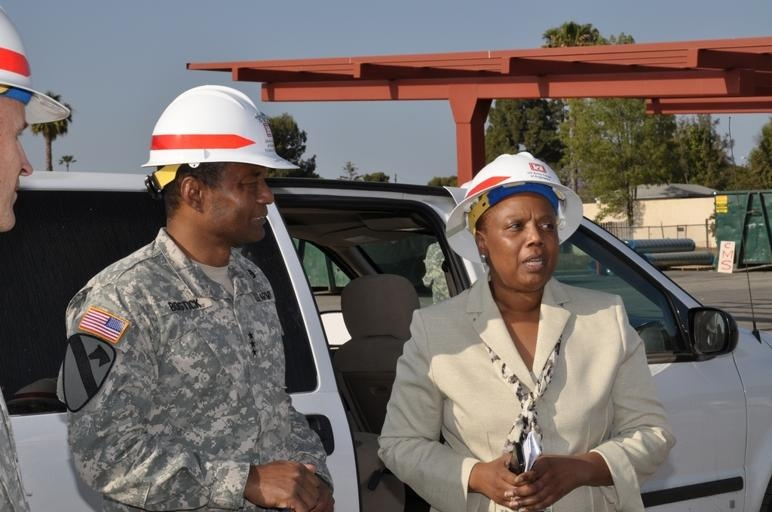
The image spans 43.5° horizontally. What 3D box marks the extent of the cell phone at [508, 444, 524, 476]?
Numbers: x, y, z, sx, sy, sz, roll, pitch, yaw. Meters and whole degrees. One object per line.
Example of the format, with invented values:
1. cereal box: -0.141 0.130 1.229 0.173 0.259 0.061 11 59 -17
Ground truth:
1. cell phone: 0.466 0.735 3.465 0.033 0.092 0.064 14 24 -22

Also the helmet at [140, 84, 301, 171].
1. helmet: -0.664 -0.483 3.735 0.604 0.344 0.452 -2 7 13
